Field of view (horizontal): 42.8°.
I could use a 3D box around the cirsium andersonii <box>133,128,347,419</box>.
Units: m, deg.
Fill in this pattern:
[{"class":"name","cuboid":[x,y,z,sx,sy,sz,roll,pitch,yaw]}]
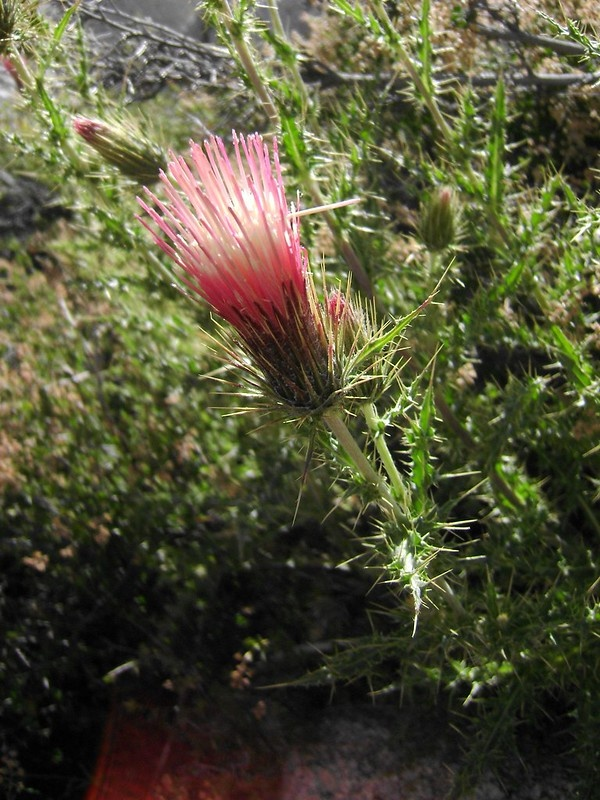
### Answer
[{"class":"cirsium andersonii","cuboid":[-0.066,-0.133,0.851,0.168,0.304,0.179,-20,39,-20]}]
